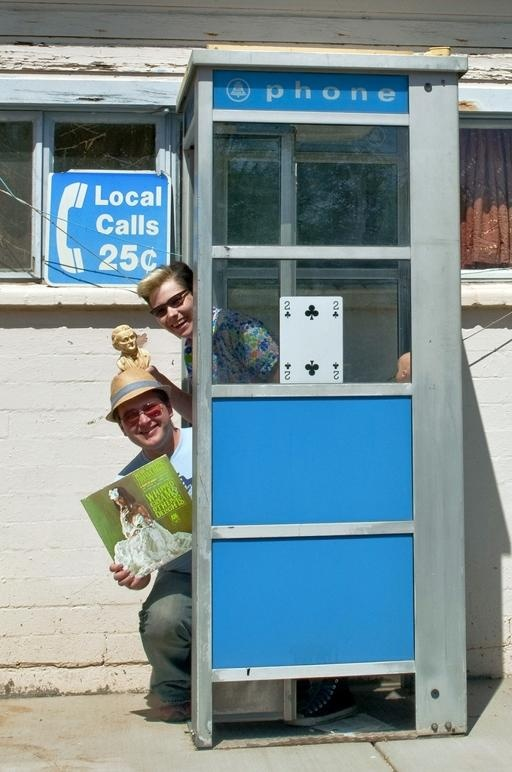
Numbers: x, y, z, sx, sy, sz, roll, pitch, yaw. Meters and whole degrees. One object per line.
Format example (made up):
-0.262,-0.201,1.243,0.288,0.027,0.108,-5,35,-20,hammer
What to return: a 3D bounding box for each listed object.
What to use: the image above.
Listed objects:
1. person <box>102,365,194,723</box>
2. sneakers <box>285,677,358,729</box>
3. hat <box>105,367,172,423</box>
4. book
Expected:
-0.366,0.653,5.687,0.456,1.436,0.509,2,2,33,person
0.283,1.300,5.581,0.336,0.191,0.116,10,-19,-38,sneakers
-0.498,0.039,5.553,0.243,0.216,0.213,-3,8,-7,hat
-0.458,0.529,5.461,0.401,0.389,0.094,-29,-13,9,book
